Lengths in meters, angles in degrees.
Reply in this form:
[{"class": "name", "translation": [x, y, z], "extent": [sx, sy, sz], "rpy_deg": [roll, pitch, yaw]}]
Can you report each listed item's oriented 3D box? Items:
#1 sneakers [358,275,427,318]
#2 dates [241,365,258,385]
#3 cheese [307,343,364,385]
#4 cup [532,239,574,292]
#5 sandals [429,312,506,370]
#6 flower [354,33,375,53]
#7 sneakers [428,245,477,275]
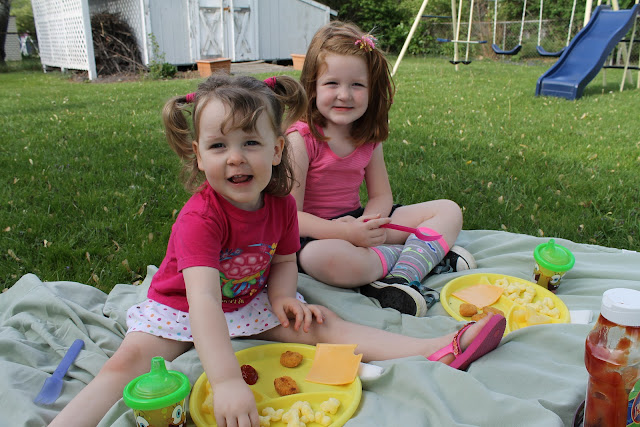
[{"class": "sneakers", "translation": [0.433, 0.471, 2.919], "extent": [0.396, 0.155, 0.162], "rpy_deg": [23, 18, 25]}, {"class": "dates", "translation": [-0.339, 0.770, 2.392], "extent": [0.069, 0.090, 0.024], "rpy_deg": [-13, -18, -34]}, {"class": "cheese", "translation": [0.052, 0.692, 2.491], "extent": [0.308, 0.145, 0.344], "rpy_deg": [-3, 5, -14]}, {"class": "cup", "translation": [1.409, 0.276, 3.026], "extent": [0.286, 0.339, 0.218], "rpy_deg": [2, -1, 13]}, {"class": "sandals", "translation": [0.704, 0.584, 2.385], "extent": [0.375, 0.244, 0.145], "rpy_deg": [-9, 22, -28]}, {"class": "flower", "translation": [0.285, -1.060, 3.111], "extent": [0.123, 0.117, 0.065], "rpy_deg": [13, 3, 17]}, {"class": "sneakers", "translation": [0.849, 0.311, 3.204], "extent": [0.259, 0.108, 0.158], "rpy_deg": [-24, 29, 3]}]
